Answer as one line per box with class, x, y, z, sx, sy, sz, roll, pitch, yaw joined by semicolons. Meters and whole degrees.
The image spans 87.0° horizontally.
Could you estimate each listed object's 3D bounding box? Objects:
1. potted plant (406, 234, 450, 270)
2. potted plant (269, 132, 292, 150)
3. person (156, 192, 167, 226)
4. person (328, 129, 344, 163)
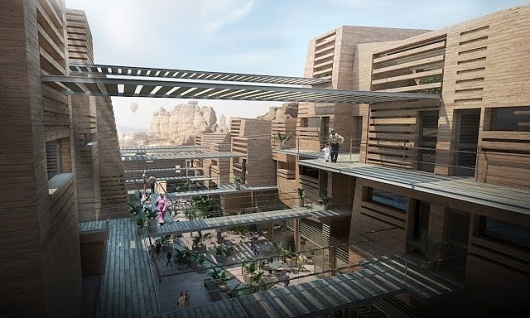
potted plant;6.862;3.952;12.140;1.808;0.891;1.745;1;0;-29
potted plant;1.297;-1.561;22.148;2.153;1.359;1.704;2;1;-14
person;-6.248;3.036;17.008;0.572;1.732;1.081;-7;10;-17
person;3.859;-0.716;15.415;0.658;1.759;1.090;0;10;25
